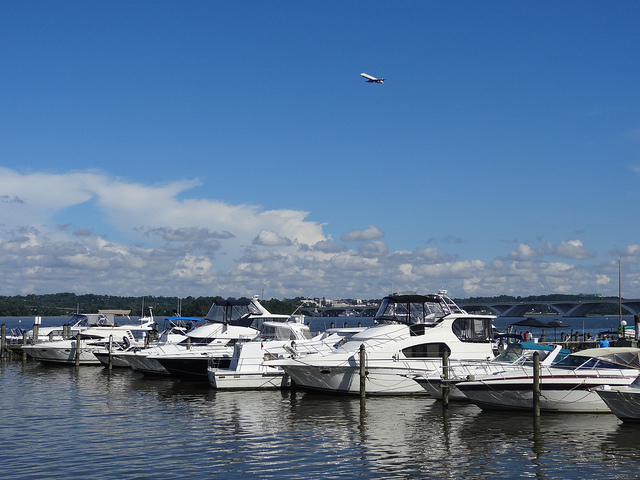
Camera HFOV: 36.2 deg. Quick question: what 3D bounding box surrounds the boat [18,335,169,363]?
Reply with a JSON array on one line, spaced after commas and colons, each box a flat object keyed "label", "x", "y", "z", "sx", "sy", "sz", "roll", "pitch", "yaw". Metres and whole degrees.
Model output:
[{"label": "boat", "x": -16.541, "y": 7.144, "z": 64.581, "sx": 12.557, "sy": 1.956, "sz": 3.205, "roll": 0, "pitch": -7, "yaw": 8}]

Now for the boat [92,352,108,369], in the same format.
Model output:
[{"label": "boat", "x": -14.193, "y": 7.672, "z": 63.409, "sx": 0.718, "sy": 1.127, "sz": 1.905, "roll": -2, "pitch": 4, "yaw": -16}]

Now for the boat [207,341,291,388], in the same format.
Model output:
[{"label": "boat", "x": -3.414, "y": 6.591, "z": 53.080, "sx": 5.354, "sy": 2.046, "sz": 3.066, "roll": -1, "pitch": 3, "yaw": -10}]

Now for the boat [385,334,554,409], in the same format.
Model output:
[{"label": "boat", "x": 8.680, "y": 6.657, "z": 47.513, "sx": 10.387, "sy": 2.157, "sz": 2.898, "roll": -1, "pitch": -5, "yaw": -6}]
